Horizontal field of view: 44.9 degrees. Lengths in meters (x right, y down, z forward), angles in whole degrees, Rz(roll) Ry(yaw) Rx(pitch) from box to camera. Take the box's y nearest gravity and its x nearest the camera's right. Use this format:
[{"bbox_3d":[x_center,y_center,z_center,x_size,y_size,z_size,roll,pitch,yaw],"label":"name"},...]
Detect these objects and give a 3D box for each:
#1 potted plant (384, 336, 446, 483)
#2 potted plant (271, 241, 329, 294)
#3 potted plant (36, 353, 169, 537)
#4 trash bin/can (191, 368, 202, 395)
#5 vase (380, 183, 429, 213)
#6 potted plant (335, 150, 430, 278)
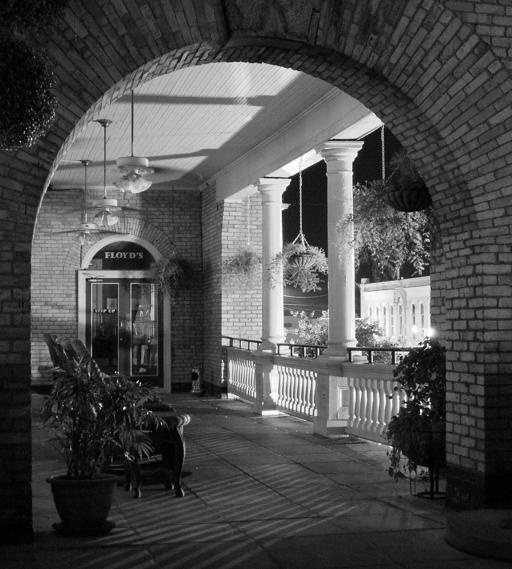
[{"bbox_3d":[1.204,0.918,4.659,0.456,1.006,0.331,-2,-5,23],"label":"potted plant"},{"bbox_3d":[0.652,-0.252,8.863,0.432,0.706,1.026,3,-6,-24],"label":"potted plant"},{"bbox_3d":[-1.036,1.053,4.199,0.663,1.039,0.977,1,-5,-9],"label":"potted plant"},{"bbox_3d":[-1.259,1.985,12.925,0.205,0.510,0.184,1,-5,-6],"label":"trash bin/can"},{"bbox_3d":[1.092,-0.627,4.484,0.329,0.158,0.231,-1,-5,16],"label":"vase"},{"bbox_3d":[1.051,-0.531,5.005,0.715,0.932,1.394,0,-5,9],"label":"potted plant"}]
